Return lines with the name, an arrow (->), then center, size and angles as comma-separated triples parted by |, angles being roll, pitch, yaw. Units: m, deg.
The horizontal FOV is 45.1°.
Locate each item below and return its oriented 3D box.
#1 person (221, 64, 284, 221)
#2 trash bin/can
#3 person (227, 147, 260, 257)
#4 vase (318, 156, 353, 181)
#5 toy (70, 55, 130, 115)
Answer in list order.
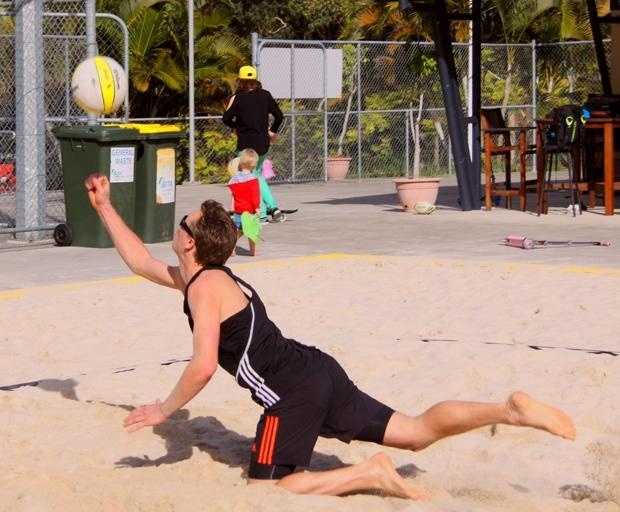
person -> -0.828, -1.853, 11.322 | 0.923, 2.513, 0.915 | -5, 16, -37
trash bin/can -> -2.501, -1.109, 10.301 | 2.053, 2.141, 1.463 | -7, 14, -39
person -> -0.745, -0.665, 8.492 | 0.464, 1.437, 0.418 | 2, 10, -11
vase -> 0.729, -2.377, 20.389 | 0.711, 0.482, 0.725 | 3, 9, 21
toy -> -2.872, -2.273, 10.062 | 0.532, 0.861, 0.612 | 11, 13, 40
